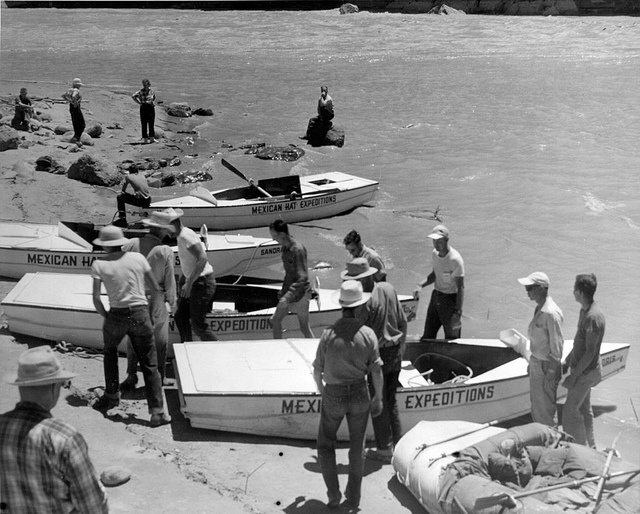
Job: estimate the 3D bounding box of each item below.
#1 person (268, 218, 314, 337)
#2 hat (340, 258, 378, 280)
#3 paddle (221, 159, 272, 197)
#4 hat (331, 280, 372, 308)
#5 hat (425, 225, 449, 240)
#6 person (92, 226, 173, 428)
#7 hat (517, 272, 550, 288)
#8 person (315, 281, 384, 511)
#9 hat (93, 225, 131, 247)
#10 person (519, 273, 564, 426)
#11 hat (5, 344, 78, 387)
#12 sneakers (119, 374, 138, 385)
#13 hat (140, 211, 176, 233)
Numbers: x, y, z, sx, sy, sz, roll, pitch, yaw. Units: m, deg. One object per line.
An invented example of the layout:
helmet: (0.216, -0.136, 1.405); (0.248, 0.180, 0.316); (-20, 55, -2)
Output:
person: (-0.465, 0.399, 15.290); (0.783, 2.081, 0.567); (-8, 21, -21)
hat: (0.527, 0.162, 13.186); (0.344, 0.127, 0.344); (-7, 16, 21)
paddle: (-1.648, -1.794, 21.573); (1.056, 1.015, 1.456); (-1, 19, -3)
hat: (0.420, 0.450, 12.414); (0.329, 0.140, 0.365); (1, 28, 21)
hat: (1.912, -0.364, 15.192); (0.342, 0.178, 0.227); (7, -1, -37)
person: (-2.691, 0.947, 13.573); (1.091, 2.736, 0.907); (3, 20, 8)
hat: (3.043, 0.324, 13.636); (0.455, 0.189, 0.288); (1, 5, 3)
person: (0.366, 1.800, 12.491); (0.920, 2.889, 0.882); (-8, 21, -22)
hat: (-2.965, -0.290, 13.452); (0.411, 0.312, 0.368); (-5, 19, -14)
person: (3.195, 1.453, 13.725); (0.535, 2.388, 0.866); (-3, 20, -8)
hat: (-3.071, 1.217, 10.596); (0.557, 0.211, 0.469); (-6, 9, -41)
sneakers: (-2.861, 1.846, 14.371); (0.297, 0.201, 0.106); (6, 19, -3)
hat: (-2.341, -0.465, 14.144); (0.367, 0.135, 0.316); (12, 17, -39)
